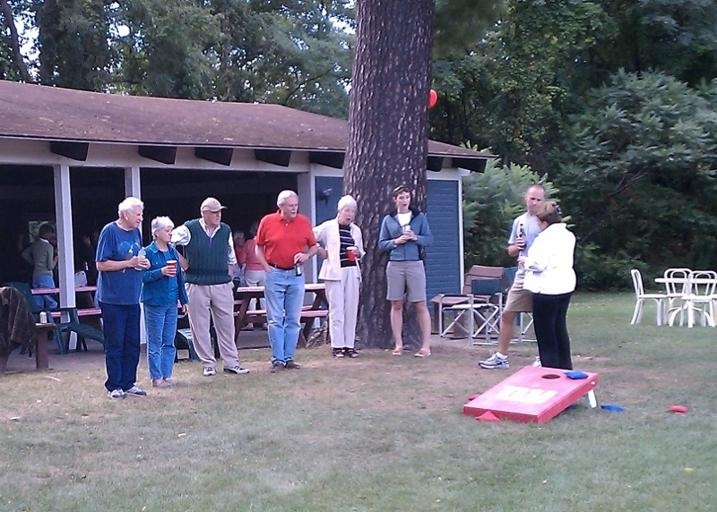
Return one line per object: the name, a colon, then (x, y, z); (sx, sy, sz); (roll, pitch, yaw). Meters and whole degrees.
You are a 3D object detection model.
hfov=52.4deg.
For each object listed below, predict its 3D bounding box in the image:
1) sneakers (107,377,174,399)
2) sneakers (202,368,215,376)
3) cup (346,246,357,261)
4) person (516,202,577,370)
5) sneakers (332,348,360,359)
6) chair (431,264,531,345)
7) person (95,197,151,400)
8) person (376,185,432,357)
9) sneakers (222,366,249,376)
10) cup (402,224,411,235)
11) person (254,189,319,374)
sneakers: (-2.472, 1.502, 8.297); (0.649, 0.239, 0.209); (-5, -1, 2)
sneakers: (-1.889, 1.460, 9.222); (0.108, 0.058, 0.171); (1, 5, -11)
cup: (-0.093, -0.020, 9.846); (0.178, 0.119, 0.167); (0, 1, 0)
person: (2.135, 0.342, 8.181); (0.545, 1.864, 0.506); (2, 11, 11)
sneakers: (-0.186, 1.375, 10.192); (0.406, 0.141, 0.129); (-1, -4, 7)
chair: (1.934, 0.835, 12.484); (1.711, 1.684, 1.284); (7, -7, -42)
person: (-2.608, 0.498, 8.151); (0.562, 2.251, 0.506); (-4, 11, -16)
person: (0.636, 0.246, 10.204); (0.676, 2.389, 0.774); (-8, 13, -32)
sneakers: (-1.550, 1.461, 9.276); (0.322, 0.105, 0.113); (-2, -3, 13)
cup: (0.645, -0.364, 9.921); (0.136, 0.197, 0.123); (0, 0, 0)
person: (-0.880, 0.333, 9.410); (0.782, 2.295, 0.671); (-5, 12, -19)
